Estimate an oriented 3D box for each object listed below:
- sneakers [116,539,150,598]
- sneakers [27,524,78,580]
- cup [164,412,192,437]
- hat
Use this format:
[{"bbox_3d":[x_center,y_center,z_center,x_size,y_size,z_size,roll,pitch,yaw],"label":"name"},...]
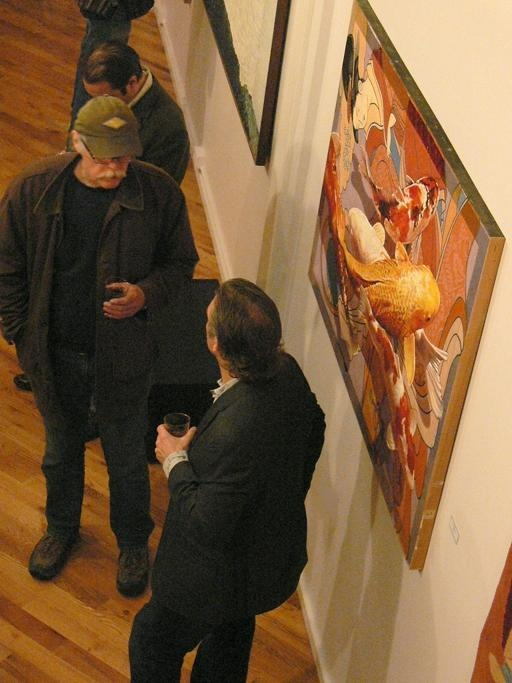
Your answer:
[{"bbox_3d":[-0.514,0.955,2.601,0.083,0.103,0.256,-1,46,-4],"label":"sneakers"},{"bbox_3d":[-0.865,0.882,2.664,0.107,0.100,0.250,16,32,0],"label":"sneakers"},{"bbox_3d":[-0.231,0.257,1.876,0.062,0.052,0.069,1,49,-11],"label":"cup"},{"bbox_3d":[-0.495,-0.740,2.101,0.211,0.147,0.295,-10,40,-29],"label":"hat"}]
